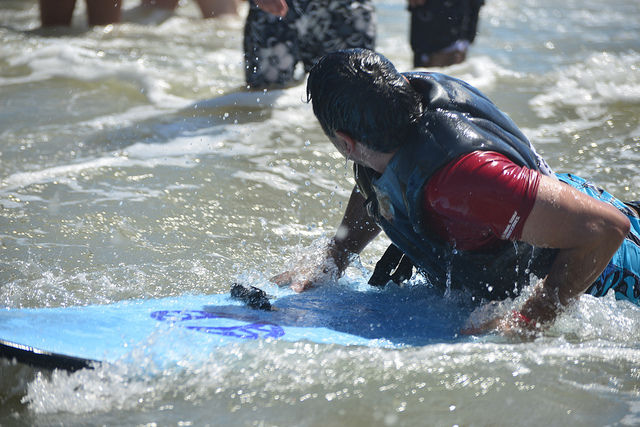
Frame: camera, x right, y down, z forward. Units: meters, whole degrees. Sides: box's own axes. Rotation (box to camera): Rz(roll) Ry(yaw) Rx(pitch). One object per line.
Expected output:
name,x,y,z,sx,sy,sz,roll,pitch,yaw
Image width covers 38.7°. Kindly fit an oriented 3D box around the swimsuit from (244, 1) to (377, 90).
swimsuit,-0.088,-1.335,7.229,1.007,0.745,0.219,5,23,6
